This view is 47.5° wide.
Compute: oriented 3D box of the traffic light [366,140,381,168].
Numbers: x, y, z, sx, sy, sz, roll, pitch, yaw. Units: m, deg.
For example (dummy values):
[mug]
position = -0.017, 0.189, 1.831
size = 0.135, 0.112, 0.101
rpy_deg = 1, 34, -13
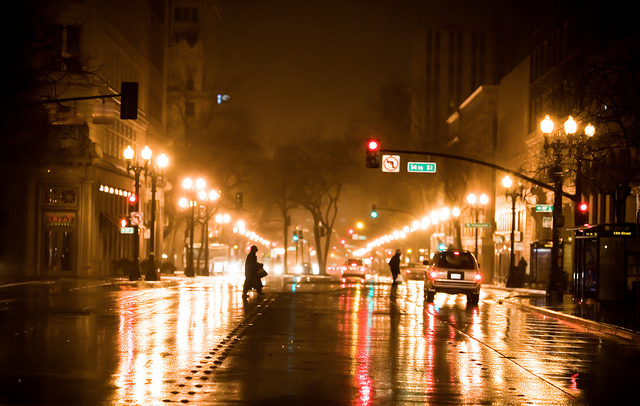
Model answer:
[traffic light]
position = 2.982, -2.785, 40.737
size = 0.606, 1.535, 0.990
rpy_deg = 0, -8, 11

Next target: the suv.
[suv]
position = 7.316, 4.045, 39.753
size = 2.916, 3.026, 1.203
rpy_deg = 0, -7, 12
